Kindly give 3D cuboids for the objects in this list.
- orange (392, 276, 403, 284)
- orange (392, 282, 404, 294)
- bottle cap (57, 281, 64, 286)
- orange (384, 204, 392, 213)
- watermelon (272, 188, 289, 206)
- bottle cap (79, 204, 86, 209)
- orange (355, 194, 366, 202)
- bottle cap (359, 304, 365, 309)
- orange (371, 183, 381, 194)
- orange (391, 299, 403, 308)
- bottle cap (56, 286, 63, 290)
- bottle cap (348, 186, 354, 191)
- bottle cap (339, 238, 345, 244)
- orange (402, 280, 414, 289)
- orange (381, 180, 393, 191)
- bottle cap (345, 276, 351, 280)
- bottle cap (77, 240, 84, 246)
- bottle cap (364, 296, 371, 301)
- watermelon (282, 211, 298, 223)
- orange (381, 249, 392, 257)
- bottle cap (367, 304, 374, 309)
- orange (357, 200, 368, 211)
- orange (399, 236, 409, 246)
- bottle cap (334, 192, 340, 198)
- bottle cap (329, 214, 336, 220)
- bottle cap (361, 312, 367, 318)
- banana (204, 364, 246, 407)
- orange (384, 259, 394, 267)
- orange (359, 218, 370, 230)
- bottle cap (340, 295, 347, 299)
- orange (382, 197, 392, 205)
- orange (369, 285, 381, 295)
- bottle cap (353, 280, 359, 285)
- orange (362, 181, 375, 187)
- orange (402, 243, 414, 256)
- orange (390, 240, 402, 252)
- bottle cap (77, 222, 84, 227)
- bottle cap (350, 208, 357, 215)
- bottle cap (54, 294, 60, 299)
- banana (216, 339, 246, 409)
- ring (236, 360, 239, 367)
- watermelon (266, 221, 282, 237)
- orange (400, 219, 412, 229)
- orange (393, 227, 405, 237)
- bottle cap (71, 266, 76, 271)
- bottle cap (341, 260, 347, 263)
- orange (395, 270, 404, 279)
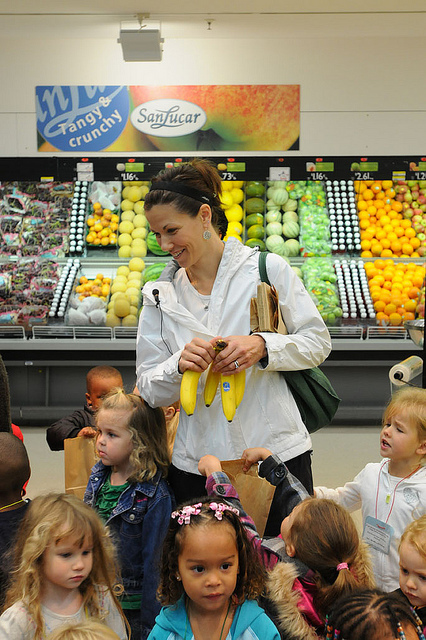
[{"bbox_3d":[1.862,-0.406,4.923,0.069,0.068,0.090,-3,0,21],"label":"orange"},{"bbox_3d":[1.845,-0.319,4.872,0.100,0.110,0.097,0,-9,-4],"label":"orange"},{"bbox_3d":[-1.493,-0.357,4.783,0.059,0.043,0.074,-4,8,-16],"label":"bottle cap"},{"bbox_3d":[1.963,-1.259,5.498,0.087,0.084,0.099,-11,30,3],"label":"orange"},{"bbox_3d":[0.737,-1.340,5.310,0.148,0.173,0.148,5,5,11],"label":"watermelon"},{"bbox_3d":[-1.402,-1.222,5.248,0.051,0.045,0.048,4,11,13],"label":"bottle cap"},{"bbox_3d":[1.656,-1.359,5.435,0.076,0.086,0.075,8,17,23],"label":"orange"},{"bbox_3d":[1.435,-0.127,4.692,0.042,0.037,0.041,-2,-7,9],"label":"bottle cap"},{"bbox_3d":[1.832,-1.477,5.467,0.094,0.089,0.109,-5,-19,11],"label":"orange"},{"bbox_3d":[1.781,-0.165,4.691,0.098,0.080,0.081,-4,28,12],"label":"orange"},{"bbox_3d":[-1.487,-0.311,4.730,0.051,0.032,0.054,-4,8,-12],"label":"bottle cap"},{"bbox_3d":[1.546,-1.472,5.458,0.058,0.053,0.034,-1,8,6],"label":"bottle cap"},{"bbox_3d":[1.361,-0.831,5.137,0.052,0.047,0.052,7,18,27],"label":"bottle cap"},{"bbox_3d":[1.953,-0.367,4.905,0.083,0.096,0.082,-16,10,-1],"label":"orange"},{"bbox_3d":[1.962,-1.523,5.522,0.130,0.144,0.127,-2,9,-3],"label":"orange"},{"bbox_3d":[1.386,-0.429,4.968,0.079,0.034,0.042,-6,8,-27],"label":"bottle cap"},{"bbox_3d":[-1.385,-0.808,5.101,0.063,0.052,0.054,-22,-19,41],"label":"bottle cap"},{"bbox_3d":[1.518,-0.215,4.762,0.069,0.032,0.050,-3,8,-10],"label":"bottle cap"},{"bbox_3d":[0.839,-1.125,5.293,0.143,0.134,0.078,11,-13,18],"label":"watermelon"},{"bbox_3d":[1.852,-0.709,5.198,0.098,0.079,0.082,19,5,6],"label":"orange"},{"bbox_3d":[1.531,-0.133,4.731,0.095,0.038,0.043,-7,9,-31],"label":"bottle cap"},{"bbox_3d":[1.670,-1.279,5.445,0.138,0.124,0.078,-8,10,-38],"label":"orange"},{"bbox_3d":[2.085,-0.860,5.320,0.091,0.103,0.089,2,0,0],"label":"orange"},{"bbox_3d":[1.377,-1.385,5.397,0.058,0.064,0.057,4,12,21],"label":"bottle cap"},{"bbox_3d":[1.273,-1.092,5.189,0.057,0.055,0.030,-19,-11,-6],"label":"bottle cap"},{"bbox_3d":[1.441,-0.046,4.645,0.044,0.040,0.046,-1,-3,-2],"label":"bottle cap"},{"bbox_3d":[0.033,0.178,1.337,0.079,0.127,0.033,-2,-26,9],"label":"banana"},{"bbox_3d":[1.852,-0.596,5.138,0.076,0.074,0.090,-16,5,-16],"label":"orange"},{"bbox_3d":[1.660,-1.053,5.398,0.107,0.121,0.104,10,0,-14],"label":"orange"},{"bbox_3d":[1.277,-0.224,4.740,0.068,0.036,0.039,-4,8,-15],"label":"bottle cap"},{"bbox_3d":[1.972,-1.350,5.498,0.085,0.083,0.097,-29,-7,9],"label":"orange"},{"bbox_3d":[1.612,-0.308,4.845,0.089,0.103,0.086,-18,34,-1],"label":"orange"},{"bbox_3d":[1.446,-0.382,4.932,0.046,0.042,0.089,1,8,23],"label":"bottle cap"},{"bbox_3d":[1.760,-1.538,5.490,0.082,0.067,0.067,8,-33,6],"label":"orange"},{"bbox_3d":[2.114,-0.764,5.280,0.125,0.136,0.072,-7,9,-35],"label":"orange"},{"bbox_3d":[1.976,-0.799,5.264,0.096,0.129,0.091,4,10,38],"label":"orange"},{"bbox_3d":[-1.396,-1.010,5.153,0.046,0.044,0.053,3,-5,22],"label":"bottle cap"},{"bbox_3d":[1.533,-1.185,5.313,0.073,0.071,0.055,-3,8,-4],"label":"bottle cap"},{"bbox_3d":[-1.488,-0.225,4.650,0.050,0.043,0.026,0,-7,-6],"label":"bottle cap"},{"bbox_3d":[0.040,0.155,1.321,0.077,0.226,0.050,-13,17,-38],"label":"banana"},{"bbox_3d":[0.064,0.111,1.248,0.006,0.013,0.003,-2,8,5],"label":"ring"},{"bbox_3d":[0.659,-0.974,5.204,0.149,0.172,0.146,-6,9,-16],"label":"watermelon"},{"bbox_3d":[2.138,-1.064,5.443,0.104,0.101,0.093,-22,51,-12],"label":"orange"},{"bbox_3d":[2.045,-0.962,5.350,0.106,0.119,0.105,5,4,20],"label":"orange"},{"bbox_3d":[-1.425,-0.527,4.988,0.046,0.045,0.064,-4,8,-16],"label":"bottle cap"},{"bbox_3d":[1.396,-0.622,5.167,0.065,0.027,0.032,-6,8,-25],"label":"bottle cap"},{"bbox_3d":[1.926,-0.473,5.026,0.078,0.088,0.076,4,-1,-11],"label":"orange"}]
